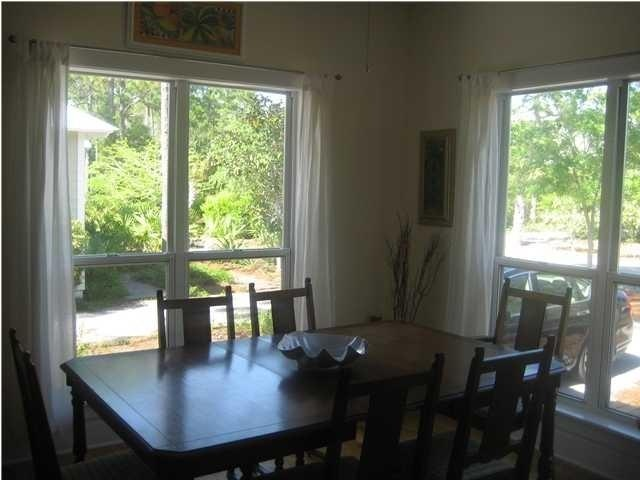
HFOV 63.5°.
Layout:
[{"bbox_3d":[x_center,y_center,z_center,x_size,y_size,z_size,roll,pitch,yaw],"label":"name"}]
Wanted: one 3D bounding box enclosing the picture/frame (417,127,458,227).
[{"bbox_3d":[0.975,-0.532,4.431,0.042,0.819,0.419,-6,10,-33],"label":"picture/frame"}]
